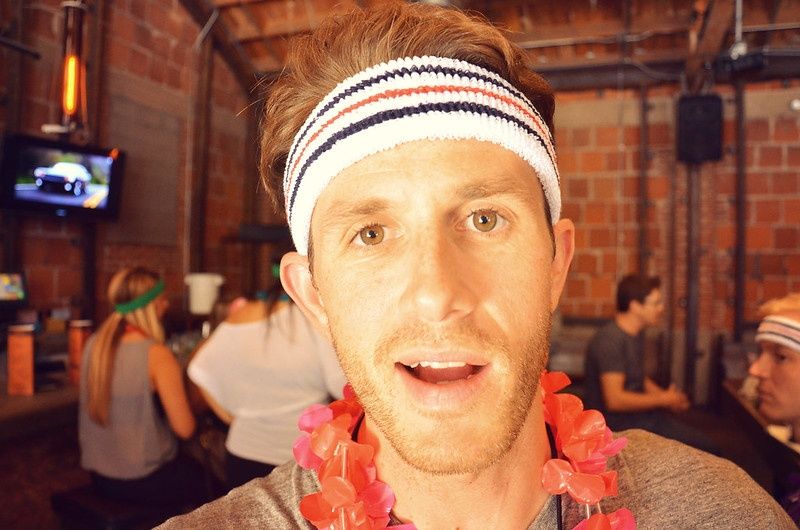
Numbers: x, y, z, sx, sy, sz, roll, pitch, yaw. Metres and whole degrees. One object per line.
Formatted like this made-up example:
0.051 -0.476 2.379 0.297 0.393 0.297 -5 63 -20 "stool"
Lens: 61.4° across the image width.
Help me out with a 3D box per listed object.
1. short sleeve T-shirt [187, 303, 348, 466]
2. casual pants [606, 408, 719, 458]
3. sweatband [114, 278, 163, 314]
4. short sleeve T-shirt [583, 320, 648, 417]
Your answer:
-0.545 0.463 2.634 0.663 0.652 0.357 -1 -2 -9 "short sleeve T-shirt"
1.016 0.614 2.626 0.455 0.111 0.089 -17 -9 42 "casual pants"
-0.915 0.111 2.362 0.121 0.032 0.112 -30 14 -15 "sweatband"
0.928 0.440 3.054 0.252 0.480 0.400 3 14 9 "short sleeve T-shirt"
